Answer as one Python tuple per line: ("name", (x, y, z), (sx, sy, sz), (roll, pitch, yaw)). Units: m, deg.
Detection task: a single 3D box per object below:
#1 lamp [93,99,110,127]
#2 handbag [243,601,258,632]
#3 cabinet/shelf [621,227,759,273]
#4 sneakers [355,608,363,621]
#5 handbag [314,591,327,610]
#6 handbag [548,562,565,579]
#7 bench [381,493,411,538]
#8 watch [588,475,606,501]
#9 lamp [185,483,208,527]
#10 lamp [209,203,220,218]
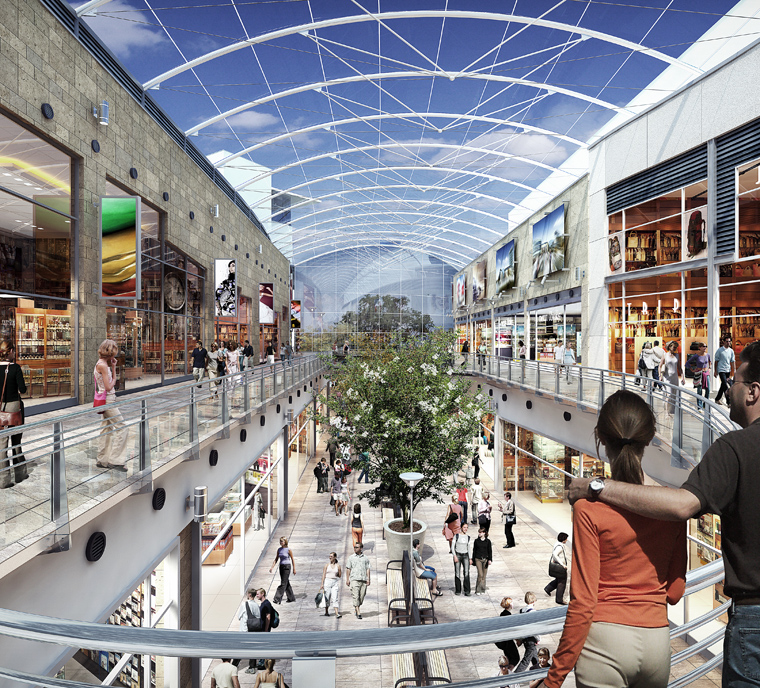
("lamp", (-7.611, -6.386, 15.438), (0.347, 0.795, 0.523), (2, -1, -14))
("handbag", (-3.102, 6.714, 13.792), (0.327, 0.744, 0.541), (2, 0, -13))
("cabinet/shelf", (11.274, -3.833, 21.587), (1.476, 1.444, 7.263), (2, 0, -5))
("sneakers", (-0.599, 7.810, 16.311), (0.152, 0.232, 0.501), (0, -8, -7))
("handbag", (-1.646, 7.275, 15.976), (0.278, 0.470, 0.548), (2, 0, -5))
("handbag", (5.082, 6.537, 16.016), (0.412, 0.399, 0.429), (-5, 8, -11))
("bench", (0.893, 7.067, 24.134), (1.795, 1.746, 2.269), (0, -2, -1))
("watch", (0.955, 0.644, 2.469), (0.055, 0.088, 0.088), (3, -11, -19))
("lamp", (-3.669, 3.229, 11.283), (0.354, 0.753, 0.471), (2, -1, -5))
("lamp", (-8.194, -6.672, 27.972), (0.494, 0.521, 0.903), (7, -28, -6))
